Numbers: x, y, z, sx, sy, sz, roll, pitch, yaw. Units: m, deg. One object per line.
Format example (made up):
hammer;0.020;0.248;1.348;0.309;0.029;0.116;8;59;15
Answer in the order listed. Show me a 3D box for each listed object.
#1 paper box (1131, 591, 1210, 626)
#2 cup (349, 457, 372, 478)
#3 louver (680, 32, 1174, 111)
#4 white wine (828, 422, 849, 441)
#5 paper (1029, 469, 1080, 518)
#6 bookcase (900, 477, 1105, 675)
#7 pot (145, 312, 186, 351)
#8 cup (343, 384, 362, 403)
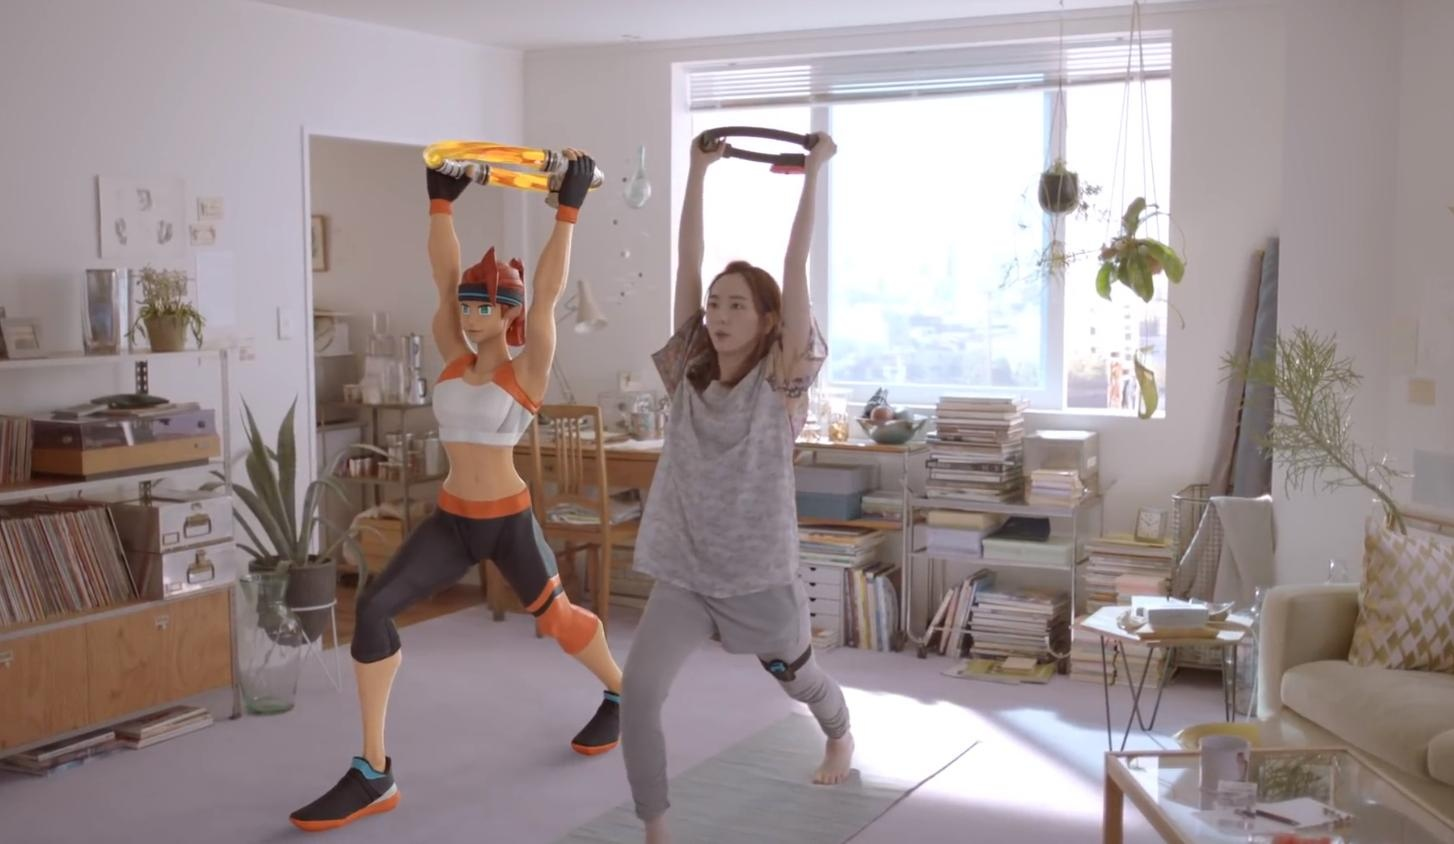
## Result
paper box;2.101;0.891;4.453;0.318;0.110;0.286;0;12;2
cup;-2.767;0.353;7.060;0.154;0.105;0.150;0;-1;0
louver;1.404;-2.381;6.266;3.477;0.470;0.124;-5;16;-12
white wine;0.729;0.061;6.170;0.126;0.122;0.121;1;8;25
paper;1.967;0.405;5.634;0.309;0.216;0.160;3;13;17
bookcase;1.760;0.795;6.159;1.333;1.194;1.056;2;5;25
pot;-2.981;-0.478;4.992;0.201;0.151;0.203;0;-1;0
cup;-2.853;-0.218;7.151;0.169;0.120;0.135;0;1;3
